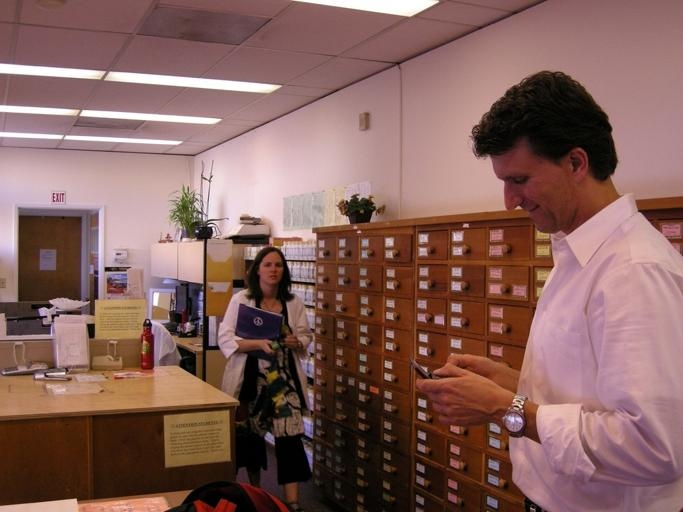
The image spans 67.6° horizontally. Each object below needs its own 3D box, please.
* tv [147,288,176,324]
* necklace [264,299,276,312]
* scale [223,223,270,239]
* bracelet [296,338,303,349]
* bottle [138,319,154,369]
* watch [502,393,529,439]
[{"bbox_3d":[-2.602,0.739,7.414,0.397,0.441,0.028,-17,-22,25],"label":"tv"},{"bbox_3d":[-0.577,0.400,4.142,0.095,0.024,0.093,14,32,6],"label":"necklace"},{"bbox_3d":[-1.181,-0.321,6.493,0.634,0.188,0.459,-2,3,-20],"label":"scale"},{"bbox_3d":[-0.319,0.693,3.990,0.046,0.054,0.051,-5,6,-44],"label":"bracelet"},{"bbox_3d":[-1.466,0.653,3.835,0.090,0.382,0.239,-1,2,-23],"label":"bottle"},{"bbox_3d":[0.472,0.438,1.404,0.061,0.106,0.098,12,5,11],"label":"watch"}]
